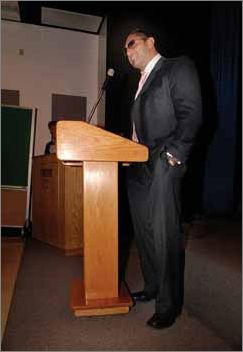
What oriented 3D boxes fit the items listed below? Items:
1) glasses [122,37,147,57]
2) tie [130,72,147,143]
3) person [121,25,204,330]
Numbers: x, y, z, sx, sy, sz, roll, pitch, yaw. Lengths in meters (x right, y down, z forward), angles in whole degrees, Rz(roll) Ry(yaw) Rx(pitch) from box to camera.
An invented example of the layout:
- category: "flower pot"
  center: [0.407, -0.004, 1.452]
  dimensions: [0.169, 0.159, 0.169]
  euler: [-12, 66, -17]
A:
- category: "glasses"
  center: [0.052, -0.668, 1.603]
  dimensions: [0.070, 0.022, 0.071]
  euler: [-39, 3, -28]
- category: "tie"
  center: [0.089, -0.373, 1.670]
  dimensions: [0.050, 0.455, 0.055]
  euler: [5, 4, -3]
- category: "person"
  center: [0.192, -0.044, 1.525]
  dimensions: [0.336, 1.447, 0.417]
  euler: [0, 1, -1]
